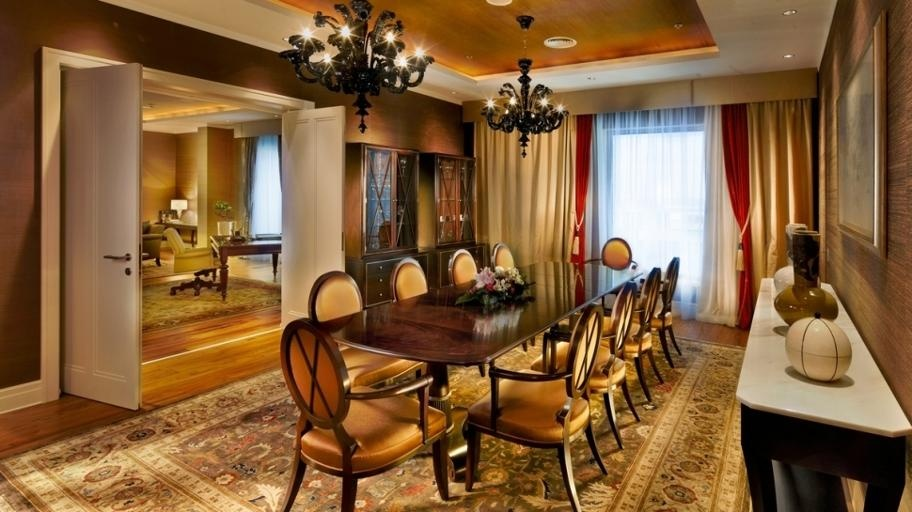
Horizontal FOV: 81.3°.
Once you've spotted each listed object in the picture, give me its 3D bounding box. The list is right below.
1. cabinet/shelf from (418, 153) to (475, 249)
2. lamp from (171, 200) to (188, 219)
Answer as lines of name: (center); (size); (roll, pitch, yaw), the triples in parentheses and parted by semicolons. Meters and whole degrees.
cabinet/shelf: (-0.161, -0.910, 8.742); (0.467, 1.505, 1.081); (5, 10, 34)
lamp: (-7.289, -1.238, 13.949); (0.491, 0.487, 0.323); (-2, 9, -6)
